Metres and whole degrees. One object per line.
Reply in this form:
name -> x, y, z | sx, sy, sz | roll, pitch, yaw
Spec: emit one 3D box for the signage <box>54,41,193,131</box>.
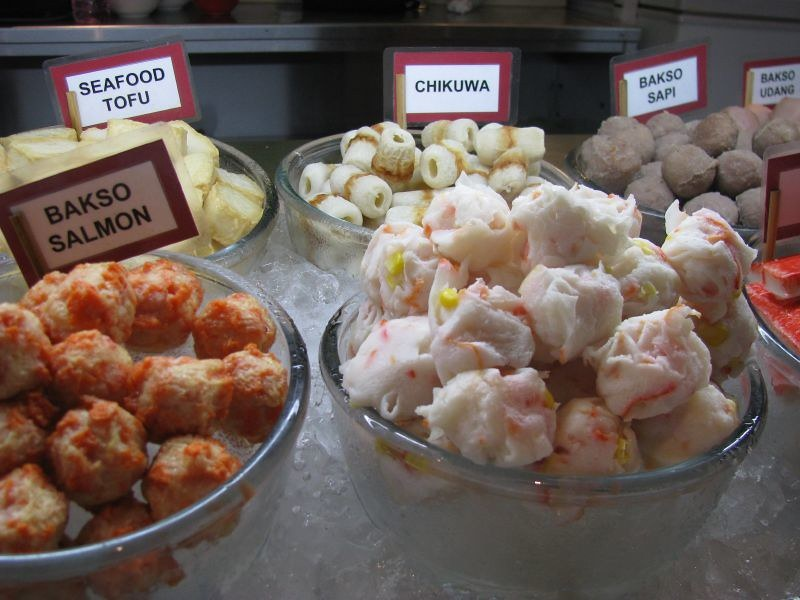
signage -> -0.570, -0.439, 1.402 | 0.317, 0.227, 0.014 | -10, 31, -13
